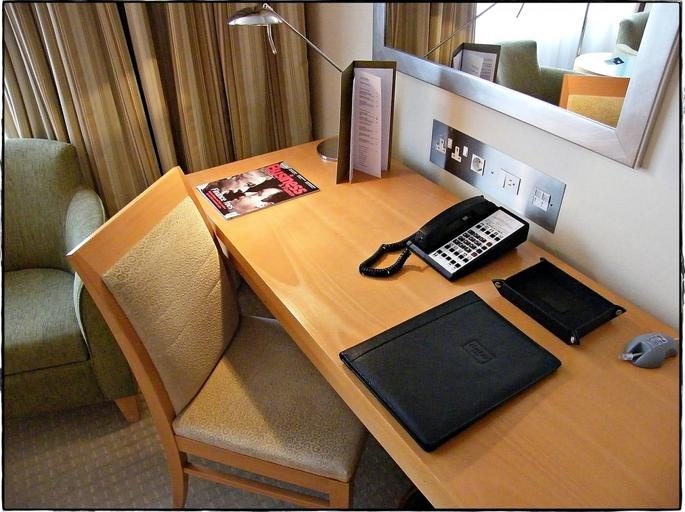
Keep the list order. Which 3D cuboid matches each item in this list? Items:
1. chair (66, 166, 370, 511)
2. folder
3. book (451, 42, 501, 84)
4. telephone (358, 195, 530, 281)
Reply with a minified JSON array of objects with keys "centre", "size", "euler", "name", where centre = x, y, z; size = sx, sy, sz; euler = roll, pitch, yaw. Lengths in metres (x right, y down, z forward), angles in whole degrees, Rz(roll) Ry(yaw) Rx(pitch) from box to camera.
[{"centre":[-0.352,0.264,1.454],"size":[0.675,0.992,0.566],"euler":[12,48,11],"name":"chair"},{"centre":[0.256,0.259,1.166],"size":[0.440,0.098,0.297],"euler":[-19,41,-24],"name":"folder"},{"centre":[0.402,-0.604,1.483],"size":[0.153,0.109,0.013],"euler":[19,46,26],"name":"book"},{"centre":[0.311,-0.029,1.396],"size":[0.389,0.105,0.268],"euler":[-28,48,-16],"name":"telephone"}]
